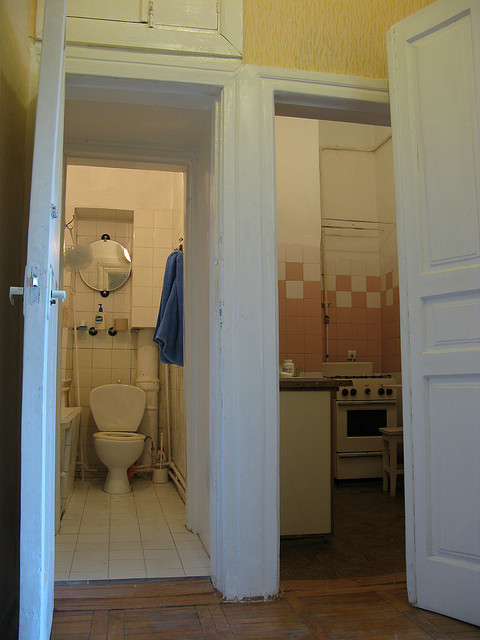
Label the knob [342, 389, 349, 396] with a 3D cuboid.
[{"bbox_3d":[0.766,0.528,4.146,0.061,0.045,0.020,5,-6,-38],"label":"knob"}]

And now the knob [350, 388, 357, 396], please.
[{"bbox_3d":[0.820,0.525,4.143,0.045,0.050,0.030,-1,-5,18],"label":"knob"}]

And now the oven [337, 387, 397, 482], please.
[{"bbox_3d":[0.955,0.830,4.305,0.430,0.753,0.499,1,-9,1],"label":"oven"}]

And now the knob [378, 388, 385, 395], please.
[{"bbox_3d":[1.039,0.524,4.189,0.051,0.046,0.024,3,-5,-23],"label":"knob"}]

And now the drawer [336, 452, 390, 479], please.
[{"bbox_3d":[0.855,1.048,4.089,0.361,0.190,0.054,3,-4,-15],"label":"drawer"}]

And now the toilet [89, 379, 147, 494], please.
[{"bbox_3d":[-0.846,0.774,3.958,0.376,0.789,0.388,1,-3,-14],"label":"toilet"}]

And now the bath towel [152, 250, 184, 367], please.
[{"bbox_3d":[-0.381,-0.081,3.184,0.131,0.624,0.180,7,-6,-32],"label":"bath towel"}]

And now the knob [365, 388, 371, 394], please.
[{"bbox_3d":[0.936,0.520,4.176,0.052,0.041,0.018,5,-6,-34],"label":"knob"}]
